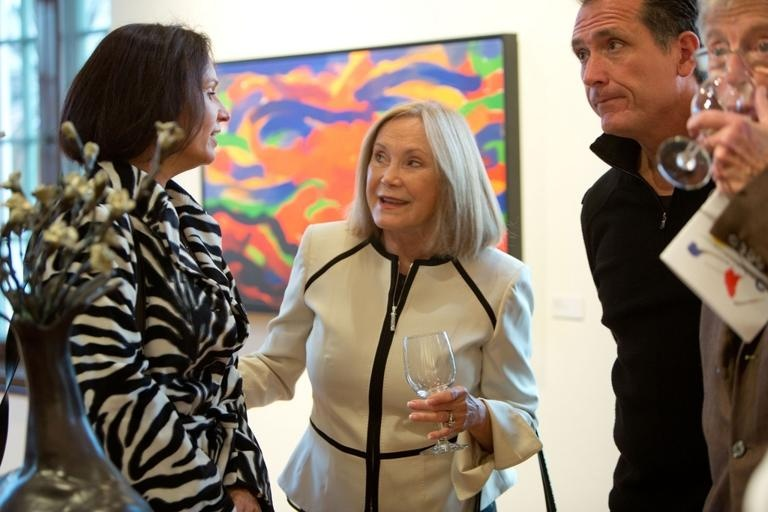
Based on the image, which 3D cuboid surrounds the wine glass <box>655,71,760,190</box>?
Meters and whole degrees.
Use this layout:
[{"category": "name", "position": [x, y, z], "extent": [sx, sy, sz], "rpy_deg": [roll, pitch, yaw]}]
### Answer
[{"category": "wine glass", "position": [0.748, -0.294, 1.822], "extent": [0.110, 0.237, 0.213], "rpy_deg": [4, -11, -29]}]

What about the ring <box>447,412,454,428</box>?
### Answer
[{"category": "ring", "position": [0.207, 0.509, 2.397], "extent": [0.027, 0.038, 0.018], "rpy_deg": [9, -18, -41]}]

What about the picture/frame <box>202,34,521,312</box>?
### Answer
[{"category": "picture/frame", "position": [-0.049, -0.389, 3.329], "extent": [1.315, 1.041, 0.049], "rpy_deg": [-1, 1, 26]}]
